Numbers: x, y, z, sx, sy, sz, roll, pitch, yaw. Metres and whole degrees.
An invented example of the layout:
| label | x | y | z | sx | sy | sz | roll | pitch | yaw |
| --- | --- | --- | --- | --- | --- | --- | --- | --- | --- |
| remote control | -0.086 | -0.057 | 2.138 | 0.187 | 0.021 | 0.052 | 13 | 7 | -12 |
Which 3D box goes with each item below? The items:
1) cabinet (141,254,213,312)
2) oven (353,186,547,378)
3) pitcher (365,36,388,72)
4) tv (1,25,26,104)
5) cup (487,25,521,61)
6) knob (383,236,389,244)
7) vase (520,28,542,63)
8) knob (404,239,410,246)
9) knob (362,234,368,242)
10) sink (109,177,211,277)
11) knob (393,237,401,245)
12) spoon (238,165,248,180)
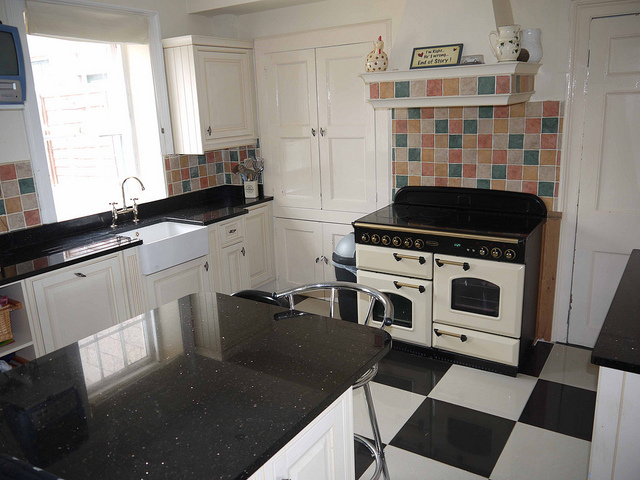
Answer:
| label | x | y | z | sx | sy | sz | roll | pitch | yaw |
| --- | --- | --- | --- | --- | --- | --- | --- | --- | --- |
| cabinet | -1.153 | 0.332 | 3.762 | 0.337 | 0.430 | 0.504 | 14 | 21 | 32 |
| oven | 0.979 | 0.253 | 3.611 | 1.258 | 1.216 | 0.700 | 6 | 17 | 32 |
| pitcher | 0.418 | -1.385 | 3.505 | 0.215 | 0.315 | 0.234 | -4 | 16 | -11 |
| tv | -2.063 | -1.166 | 3.101 | 0.032 | 0.466 | 0.170 | 10 | 20 | 34 |
| cup | 1.221 | -1.306 | 3.136 | 0.214 | 0.229 | 0.170 | -2 | 17 | 15 |
| knob | 0.477 | -0.001 | 3.427 | 0.042 | 0.046 | 0.066 | 8 | 16 | 24 |
| vase | 1.458 | -1.345 | 3.245 | 0.141 | 0.223 | 0.101 | 5 | 17 | 21 |
| knob | 0.619 | 0.014 | 3.356 | 0.035 | 0.049 | 0.012 | -2 | 0 | 29 |
| knob | 0.321 | -0.017 | 3.498 | 0.032 | 0.045 | 0.016 | -15 | -3 | 14 |
| sink | -1.351 | -0.058 | 4.013 | 0.808 | 0.853 | 0.793 | 14 | 21 | 35 |
| knob | 0.551 | 0.008 | 3.385 | 0.040 | 0.041 | 0.010 | -28 | -14 | 34 |
| spoon | -0.760 | -0.668 | 4.599 | 0.076 | 0.142 | 0.028 | -34 | 25 | -20 |
